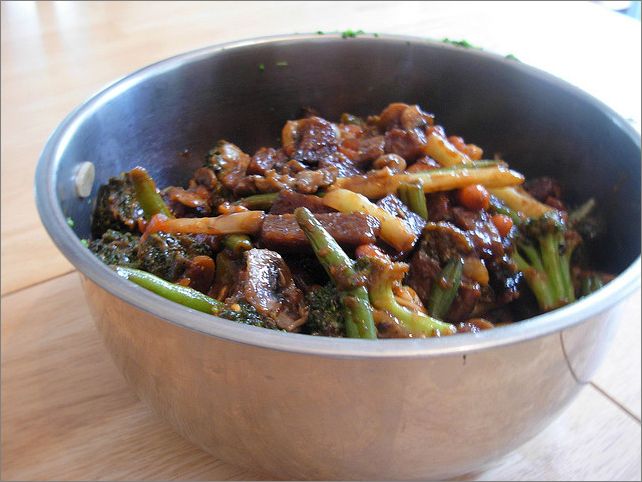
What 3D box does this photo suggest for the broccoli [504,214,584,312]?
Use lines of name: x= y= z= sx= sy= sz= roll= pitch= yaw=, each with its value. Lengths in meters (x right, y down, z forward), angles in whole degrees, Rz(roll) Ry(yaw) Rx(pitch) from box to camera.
broccoli: x=0.518 y=0.056 z=1.357 sx=0.142 sy=0.143 sz=0.191 roll=8 pitch=47 yaw=-9

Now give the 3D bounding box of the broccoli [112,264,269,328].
broccoli: x=-0.244 y=0.103 z=1.092 sx=0.212 sy=0.030 sz=0.040 roll=21 pitch=11 yaw=-7

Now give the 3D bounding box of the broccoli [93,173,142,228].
broccoli: x=-0.499 y=-0.087 z=1.434 sx=0.099 sy=0.043 sz=0.135 roll=12 pitch=61 yaw=-17
